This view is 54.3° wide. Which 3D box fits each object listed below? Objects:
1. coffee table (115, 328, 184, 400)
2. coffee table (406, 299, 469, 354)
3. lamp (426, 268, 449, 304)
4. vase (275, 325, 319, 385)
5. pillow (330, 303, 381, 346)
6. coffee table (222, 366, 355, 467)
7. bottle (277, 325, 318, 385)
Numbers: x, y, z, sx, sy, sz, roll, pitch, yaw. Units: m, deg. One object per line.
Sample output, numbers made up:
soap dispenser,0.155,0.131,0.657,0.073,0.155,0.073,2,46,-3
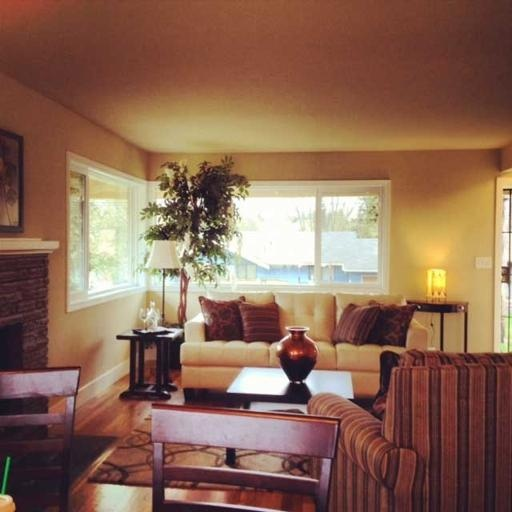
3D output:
coffee table,-0.901,0.959,4.529,0.614,0.536,0.582,0,-5,5
coffee table,1.807,0.667,4.878,0.447,0.603,0.683,-1,0,-11
lamp,1.864,0.297,5.284,0.272,0.362,0.254,1,-2,1
vase,0.280,0.654,3.314,0.363,0.402,0.348,0,-5,-3
pillow,0.891,0.571,4.416,0.526,0.461,0.134,19,-24,-33
coffee table,0.197,1.080,3.441,0.869,0.382,0.574,2,11,7
bottle,0.271,0.654,3.312,0.363,0.401,0.347,0,-6,-3
